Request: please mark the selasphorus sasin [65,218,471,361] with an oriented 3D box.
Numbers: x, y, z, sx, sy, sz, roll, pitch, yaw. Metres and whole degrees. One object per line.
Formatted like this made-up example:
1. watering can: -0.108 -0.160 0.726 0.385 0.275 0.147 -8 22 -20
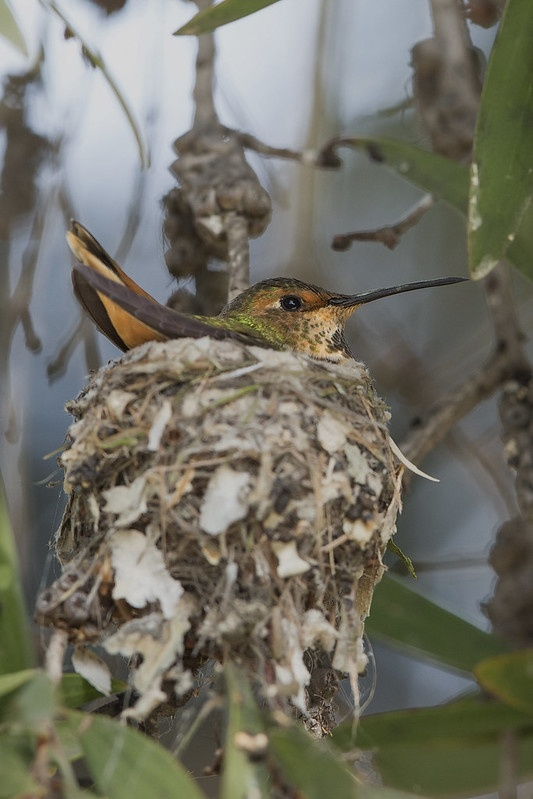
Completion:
1. selasphorus sasin: -0.032 -0.137 2.089 0.725 0.236 0.297 6 90 1
